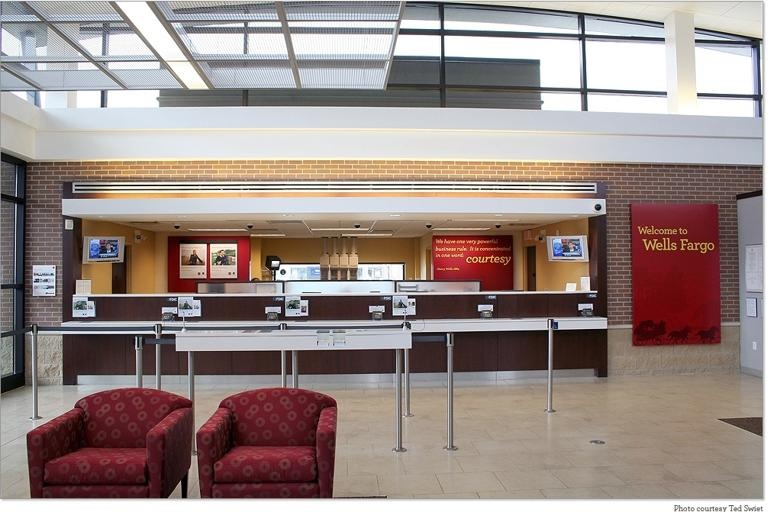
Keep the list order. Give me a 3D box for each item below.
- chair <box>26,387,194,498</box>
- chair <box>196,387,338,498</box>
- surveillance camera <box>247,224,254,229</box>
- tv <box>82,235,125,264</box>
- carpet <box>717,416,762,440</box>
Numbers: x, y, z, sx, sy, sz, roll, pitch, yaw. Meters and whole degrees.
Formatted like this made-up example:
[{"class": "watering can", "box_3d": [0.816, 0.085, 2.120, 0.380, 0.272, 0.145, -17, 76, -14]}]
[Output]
[{"class": "chair", "box_3d": [-3.181, 2.200, 7.357, 1.484, 1.087, 1.355, 1, -3, -5]}, {"class": "chair", "box_3d": [-1.361, 2.215, 7.435, 1.460, 1.267, 1.119, 0, -12, -2]}, {"class": "surveillance camera", "box_3d": [-2.967, -0.634, 13.498, 0.111, 0.112, 0.128, 3, 35, -3]}, {"class": "tv", "box_3d": [-5.174, -0.124, 11.369, 0.598, 0.376, 0.077, 0, -3, -22]}, {"class": "carpet", "box_3d": [5.133, 2.419, 9.146, 0.546, 0.020, 0.826, 6, 10, 32]}]
